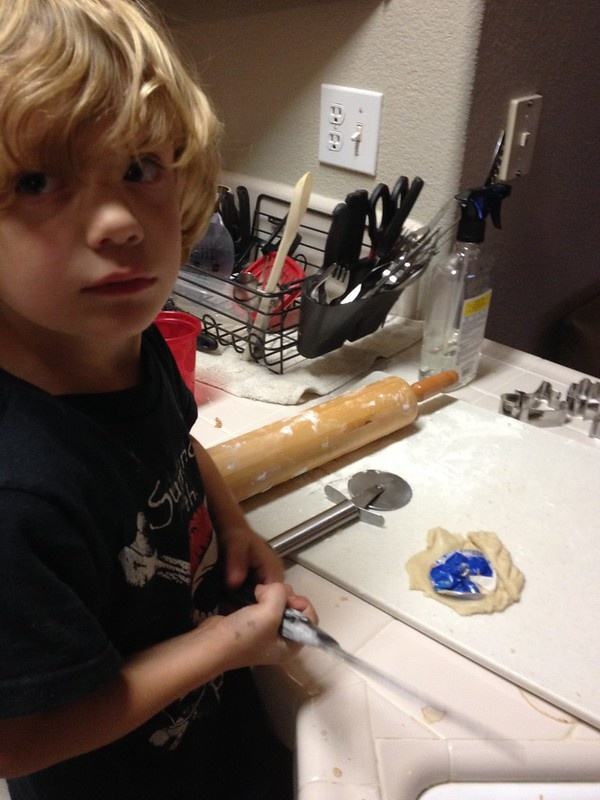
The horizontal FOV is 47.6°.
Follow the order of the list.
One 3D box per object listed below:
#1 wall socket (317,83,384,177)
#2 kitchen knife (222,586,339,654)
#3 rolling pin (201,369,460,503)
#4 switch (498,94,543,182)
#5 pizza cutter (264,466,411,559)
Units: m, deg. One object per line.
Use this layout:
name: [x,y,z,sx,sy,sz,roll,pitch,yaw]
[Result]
wall socket: [0.084,-0.431,1.067,0.128,0.118,0.041,22,39,30]
kitchen knife: [-0.017,0.166,0.531,0.021,0.037,0.122,-21,25,-39]
rolling pin: [0.041,0.031,0.804,0.353,0.049,0.056,-23,24,-22]
switch: [0.347,-0.423,1.080,0.025,0.166,0.132,25,39,35]
pizza cutter: [0.038,0.116,0.693,0.069,0.022,0.186,30,34,35]
